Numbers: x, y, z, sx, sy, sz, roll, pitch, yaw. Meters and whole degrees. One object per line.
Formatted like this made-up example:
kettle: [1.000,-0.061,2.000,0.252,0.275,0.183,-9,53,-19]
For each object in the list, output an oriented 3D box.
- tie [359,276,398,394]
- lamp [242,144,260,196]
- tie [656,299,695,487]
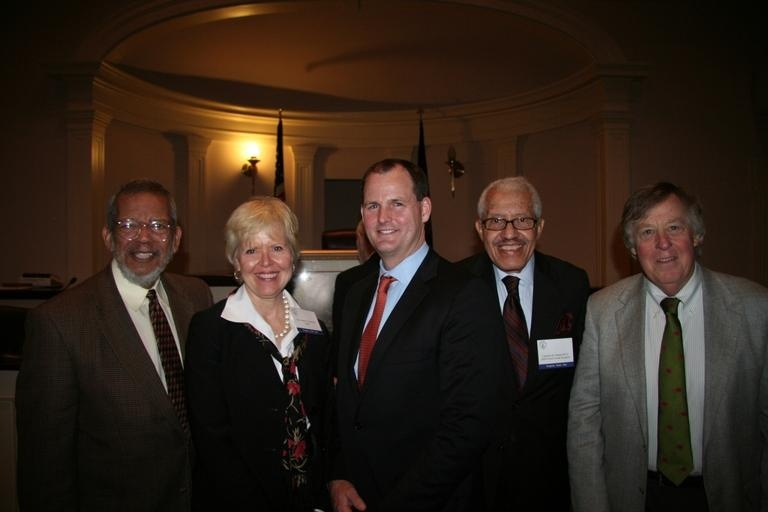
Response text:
tie: [-0.045,0.468,4.086,0.130,0.806,0.094,8,-24,17]
lamp: [-2.560,-1.676,12.091,0.351,0.965,0.398,-1,1,-13]
tie: [1.928,0.874,4.143,0.220,1.198,0.170,-1,1,25]
